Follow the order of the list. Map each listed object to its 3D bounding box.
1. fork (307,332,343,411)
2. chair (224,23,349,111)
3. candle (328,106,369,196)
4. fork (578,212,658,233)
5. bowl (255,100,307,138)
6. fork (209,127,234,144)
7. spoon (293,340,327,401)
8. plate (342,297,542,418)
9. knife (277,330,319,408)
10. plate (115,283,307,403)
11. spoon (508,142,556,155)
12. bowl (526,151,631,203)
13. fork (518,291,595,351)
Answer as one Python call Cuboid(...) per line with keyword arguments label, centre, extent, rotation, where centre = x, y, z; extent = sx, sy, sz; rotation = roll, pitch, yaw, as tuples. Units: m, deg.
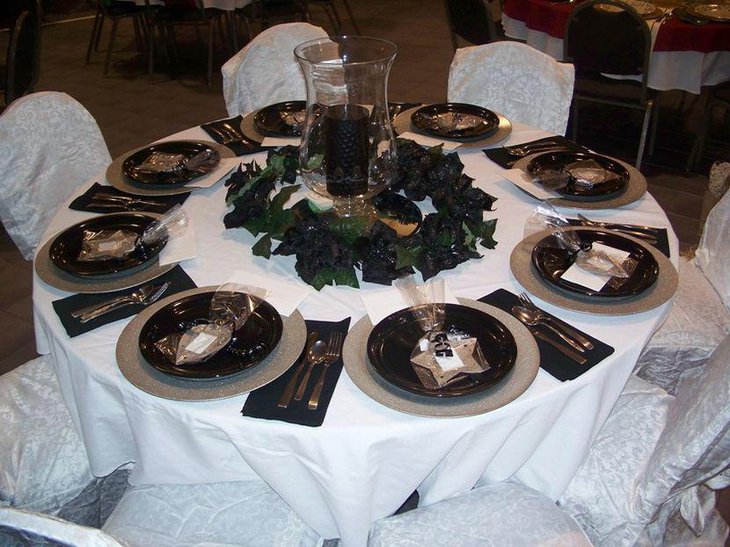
Cuboid(label="fork", centre=(-0.075, 0.196, 1.116), extent=(0.033, 0.026, 0.190), rotation=(9, 50, 14))
Cuboid(label="chair", centre=(-0.471, -0.934, 2.477), extent=(0.431, 0.217, 0.553), rotation=(-2, 56, -1))
Cuboid(label="candle", centre=(-0.043, -0.311, 1.291), extent=(0.113, 0.192, 0.108), rotation=(-14, 40, -18))
Cuboid(label="fork", centre=(0.720, -0.142, 1.494), extent=(0.208, 0.028, 0.029), rotation=(9, 61, 13))
Cuboid(label="bowl", centre=(-0.296, -0.570, 1.982), extent=(0.204, 0.045, 0.195), rotation=(-1, 38, 1))
Cuboid(label="fork", centre=(-0.521, -0.500, 1.921), extent=(0.054, 0.013, 0.093), rotation=(-14, 41, -22))
Cuboid(label="spoon", centre=(-0.119, 0.202, 1.076), extent=(0.036, 0.023, 0.182), rotation=(-6, 26, 22))
Cuboid(label="plate", centre=(0.160, 0.166, 1.119), extent=(0.413, 0.090, 0.323), rotation=(-2, 31, -6))
Cuboid(label="knife", centre=(-0.123, 0.189, 1.120), extent=(0.033, 0.027, 0.235), rotation=(26, 35, 3))
Cuboid(label="plate", centre=(-0.340, 0.151, 1.147), extent=(0.398, 0.068, 0.310), rotation=(13, 32, 19))
Cuboid(label="spoon", centre=(0.576, -0.429, 1.806), extent=(0.236, 0.038, 0.034), rotation=(-9, 72, -26))
Cuboid(label="bowl", centre=(0.689, -0.314, 1.651), extent=(0.229, 0.037, 0.216), rotation=(-3, 35, 2))
Cuboid(label="fork", centre=(0.410, 0.118, 1.222), extent=(0.226, 0.033, 0.060), rotation=(37, 54, 21))
